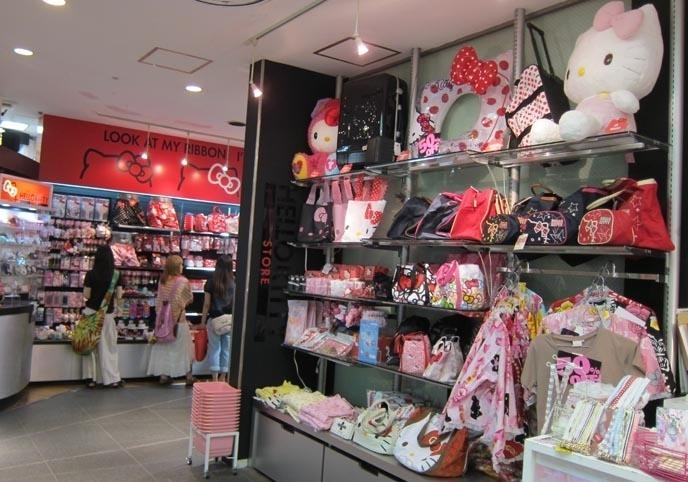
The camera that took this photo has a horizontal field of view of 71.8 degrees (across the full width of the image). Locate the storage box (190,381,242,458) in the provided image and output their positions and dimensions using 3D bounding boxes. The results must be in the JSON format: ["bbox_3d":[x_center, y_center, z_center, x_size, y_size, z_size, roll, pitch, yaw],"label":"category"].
[{"bbox_3d":[-1.253,1.735,4.940,0.601,0.802,0.628,0,0,-25],"label":"storage box"}]

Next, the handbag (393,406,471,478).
[{"bbox_3d":[0.616,1.456,3.393,0.382,0.496,0.209,-5,-47,45],"label":"handbag"}]

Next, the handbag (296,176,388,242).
[{"bbox_3d":[0.007,-0.300,4.579,0.592,0.564,0.197,4,-2,42],"label":"handbag"}]

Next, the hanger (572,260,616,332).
[{"bbox_3d":[1.609,0.349,3.046,0.183,0.423,0.544,2,-3,30],"label":"hanger"}]

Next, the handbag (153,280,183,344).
[{"bbox_3d":[-2.729,1.046,7.347,0.355,0.714,0.220,3,-2,-8],"label":"handbag"}]

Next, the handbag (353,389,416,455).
[{"bbox_3d":[0.326,1.424,3.935,0.372,0.244,0.669,15,35,20],"label":"handbag"}]

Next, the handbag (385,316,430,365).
[{"bbox_3d":[0.582,0.800,4.191,0.454,0.352,0.481,-6,15,16],"label":"handbag"}]

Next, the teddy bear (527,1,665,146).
[{"bbox_3d":[1.617,-1.064,3.027,0.760,0.943,0.517,2,-2,26],"label":"teddy bear"}]

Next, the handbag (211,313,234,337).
[{"bbox_3d":[-1.839,1.245,7.077,0.326,0.329,0.165,3,-2,4],"label":"handbag"}]

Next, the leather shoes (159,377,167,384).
[{"bbox_3d":[-2.854,2.181,7.491,0.109,0.087,0.113,2,6,5],"label":"leather shoes"}]

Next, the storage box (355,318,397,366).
[{"bbox_3d":[0.272,0.831,4.300,0.420,0.467,0.321,1,-2,44],"label":"storage box"}]

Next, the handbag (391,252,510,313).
[{"bbox_3d":[0.783,0.294,3.695,0.381,0.429,0.803,5,-3,-40],"label":"handbag"}]
